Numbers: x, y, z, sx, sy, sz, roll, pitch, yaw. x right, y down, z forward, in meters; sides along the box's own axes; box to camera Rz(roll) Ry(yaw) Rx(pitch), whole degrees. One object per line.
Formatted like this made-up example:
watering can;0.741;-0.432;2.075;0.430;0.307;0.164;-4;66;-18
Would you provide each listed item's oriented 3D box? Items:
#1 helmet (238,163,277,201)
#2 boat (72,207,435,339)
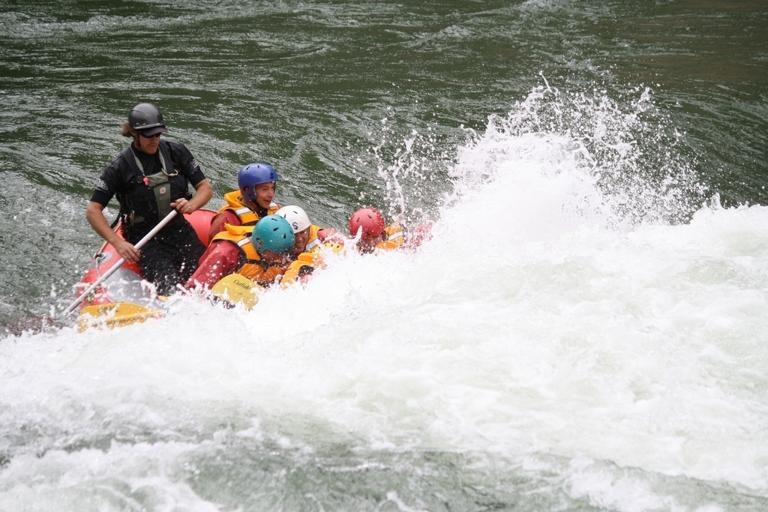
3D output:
helmet;-1.951;-1.188;13.193;0.648;0.474;0.497;6;22;3
boat;-2.250;0.340;12.404;4.035;0.667;2.252;-12;30;-5
